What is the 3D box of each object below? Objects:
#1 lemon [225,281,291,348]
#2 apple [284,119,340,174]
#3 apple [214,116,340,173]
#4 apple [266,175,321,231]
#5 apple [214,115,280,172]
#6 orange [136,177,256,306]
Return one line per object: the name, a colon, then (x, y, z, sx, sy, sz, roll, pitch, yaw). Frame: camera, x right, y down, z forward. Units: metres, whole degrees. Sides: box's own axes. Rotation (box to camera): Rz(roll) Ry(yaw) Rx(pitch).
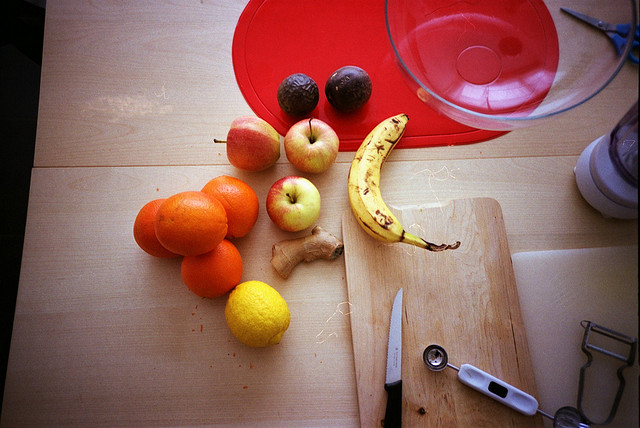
lemon: (-0.190, 0.309, 1.550, 0.190, 0.152, 0.176, 9, 67, -4)
apple: (-0.031, -0.187, 1.671, 0.139, 0.197, 0.167, -11, 80, 1)
apple: (-0.122, -0.217, 1.585, 0.344, 0.182, 0.187, 3, 55, 0)
apple: (-0.084, -0.032, 1.649, 0.138, 0.164, 0.169, -6, 88, 3)
apple: (-0.227, -0.240, 1.637, 0.146, 0.158, 0.206, 9, 102, 8)
orange: (-0.331, 0.057, 1.490, 0.331, 0.164, 0.355, -35, 87, -12)
